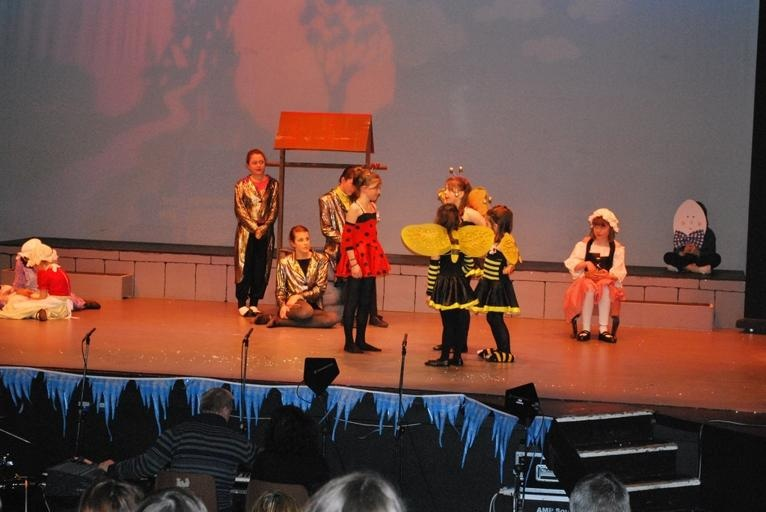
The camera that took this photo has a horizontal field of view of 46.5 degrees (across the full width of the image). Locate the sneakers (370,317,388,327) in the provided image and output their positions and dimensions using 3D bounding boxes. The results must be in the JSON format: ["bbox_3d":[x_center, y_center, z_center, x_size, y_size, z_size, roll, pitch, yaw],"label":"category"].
[{"bbox_3d":[-0.022,0.796,10.596,0.251,0.172,0.090,-1,-1,14],"label":"sneakers"}]

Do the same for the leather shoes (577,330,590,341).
[{"bbox_3d":[2.295,0.919,10.152,0.093,0.096,0.247,-2,-6,18],"label":"leather shoes"}]

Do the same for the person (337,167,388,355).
[{"bbox_3d":[-0.213,0.047,9.332,0.521,1.941,0.523,3,-4,-4],"label":"person"}]

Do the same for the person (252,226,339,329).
[{"bbox_3d":[-0.993,0.298,10.345,0.766,1.151,1.007,14,21,37],"label":"person"}]

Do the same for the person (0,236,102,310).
[{"bbox_3d":[-4.252,0.201,11.084,1.263,1.244,0.604,0,7,-24],"label":"person"}]

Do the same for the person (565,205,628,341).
[{"bbox_3d":[2.439,0.235,10.230,0.667,1.512,0.365,2,-4,13],"label":"person"}]

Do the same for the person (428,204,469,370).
[{"bbox_3d":[0.684,0.306,8.989,0.469,1.638,0.339,3,-4,-5],"label":"person"}]

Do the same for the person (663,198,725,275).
[{"bbox_3d":[4.243,-0.258,12.160,0.715,1.000,0.777,-4,3,-15],"label":"person"}]

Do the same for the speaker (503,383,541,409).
[{"bbox_3d":[1.205,1.230,7.801,0.340,0.237,0.099,0,-5,34],"label":"speaker"}]

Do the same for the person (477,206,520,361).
[{"bbox_3d":[1.193,0.285,9.270,0.433,1.637,0.464,3,-4,6],"label":"person"}]

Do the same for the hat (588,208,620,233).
[{"bbox_3d":[2.613,-0.435,10.444,0.279,0.335,0.761,2,-5,18],"label":"hat"}]

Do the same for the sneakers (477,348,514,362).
[{"bbox_3d":[1.153,1.038,9.168,0.277,0.097,0.154,4,-10,-1],"label":"sneakers"}]

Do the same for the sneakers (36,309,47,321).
[{"bbox_3d":[-3.969,0.696,10.343,0.144,0.112,0.089,-5,-6,28],"label":"sneakers"}]

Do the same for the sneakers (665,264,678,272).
[{"bbox_3d":[3.960,0.182,12.141,0.137,0.105,0.383,2,-5,15],"label":"sneakers"}]

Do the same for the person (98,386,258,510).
[{"bbox_3d":[-1.681,1.598,7.465,0.969,1.200,0.444,4,7,-6],"label":"person"}]

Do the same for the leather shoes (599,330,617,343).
[{"bbox_3d":[2.564,0.936,10.184,0.098,0.079,0.187,-1,-2,-18],"label":"leather shoes"}]

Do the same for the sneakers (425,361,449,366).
[{"bbox_3d":[0.531,1.057,8.903,0.219,0.076,0.079,4,-2,10],"label":"sneakers"}]

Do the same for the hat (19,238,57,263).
[{"bbox_3d":[-4.125,-0.051,10.480,0.304,0.108,0.309,19,26,39],"label":"hat"}]
